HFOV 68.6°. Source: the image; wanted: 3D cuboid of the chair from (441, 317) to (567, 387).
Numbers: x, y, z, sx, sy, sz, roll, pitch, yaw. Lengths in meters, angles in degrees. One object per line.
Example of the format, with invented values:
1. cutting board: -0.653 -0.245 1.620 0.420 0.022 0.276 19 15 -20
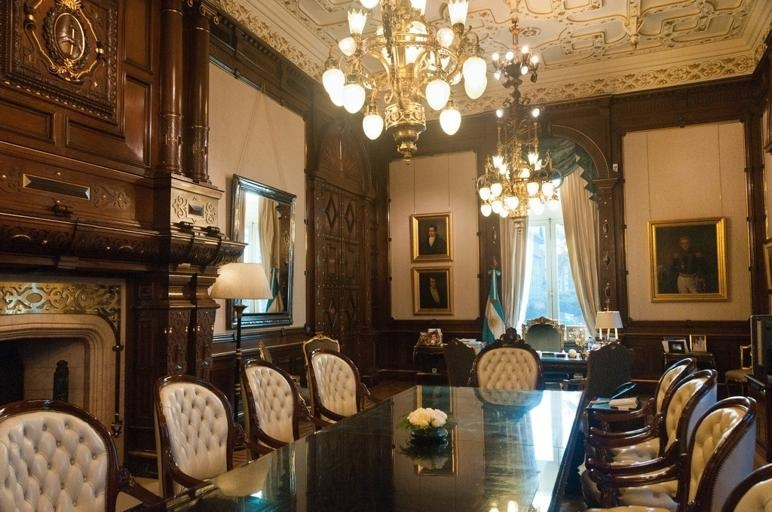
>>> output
1. chair: 1.544 1.215 7.207 1.057 1.101 0.615 -3 -10 20

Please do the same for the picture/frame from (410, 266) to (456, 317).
1. picture/frame: 0.882 0.619 10.129 0.840 0.948 0.102 -1 -3 21

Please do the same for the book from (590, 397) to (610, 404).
1. book: 2.096 1.414 5.538 0.164 0.049 0.170 -2 -4 17

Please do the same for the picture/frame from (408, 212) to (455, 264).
1. picture/frame: 0.864 -0.339 10.204 0.838 0.999 0.079 -2 -6 23

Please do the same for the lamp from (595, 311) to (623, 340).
1. lamp: 3.395 1.033 8.548 0.312 0.558 1.291 3 4 25

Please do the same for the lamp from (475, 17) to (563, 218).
1. lamp: 1.863 -1.952 7.975 1.141 2.820 3.822 2 4 14
